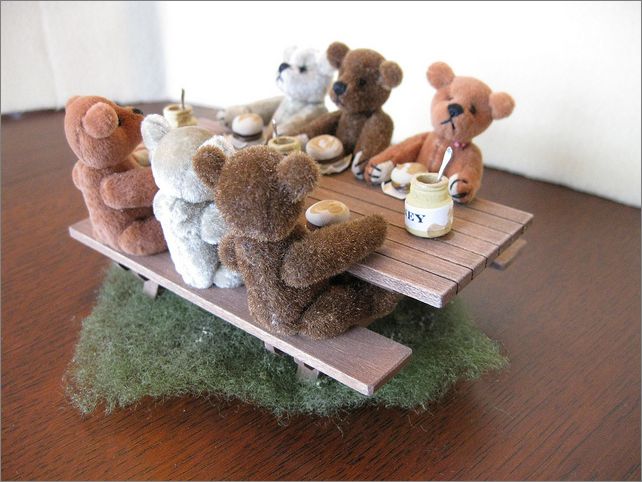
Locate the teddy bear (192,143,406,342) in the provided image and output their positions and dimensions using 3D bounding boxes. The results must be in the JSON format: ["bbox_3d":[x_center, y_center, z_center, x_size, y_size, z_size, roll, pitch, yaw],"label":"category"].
[{"bbox_3d":[-0.099,-0.034,2.442,0.686,0.899,0.674,10,33,34],"label":"teddy bear"}]

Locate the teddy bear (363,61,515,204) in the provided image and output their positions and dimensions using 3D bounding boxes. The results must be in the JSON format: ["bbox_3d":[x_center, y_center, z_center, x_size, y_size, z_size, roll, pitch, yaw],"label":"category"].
[{"bbox_3d":[0.534,-0.481,2.632,0.558,0.510,0.319,22,38,21],"label":"teddy bear"}]

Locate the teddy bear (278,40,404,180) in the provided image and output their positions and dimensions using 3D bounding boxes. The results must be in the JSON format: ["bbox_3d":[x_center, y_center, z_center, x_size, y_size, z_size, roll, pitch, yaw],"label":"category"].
[{"bbox_3d":[0.123,-0.675,2.911,0.572,0.597,0.458,19,35,31],"label":"teddy bear"}]

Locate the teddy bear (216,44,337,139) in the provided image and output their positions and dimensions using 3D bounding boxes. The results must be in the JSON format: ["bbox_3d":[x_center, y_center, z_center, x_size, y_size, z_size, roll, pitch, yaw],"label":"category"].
[{"bbox_3d":[-0.230,-0.794,3.286,0.631,0.633,0.581,4,13,15],"label":"teddy bear"}]
